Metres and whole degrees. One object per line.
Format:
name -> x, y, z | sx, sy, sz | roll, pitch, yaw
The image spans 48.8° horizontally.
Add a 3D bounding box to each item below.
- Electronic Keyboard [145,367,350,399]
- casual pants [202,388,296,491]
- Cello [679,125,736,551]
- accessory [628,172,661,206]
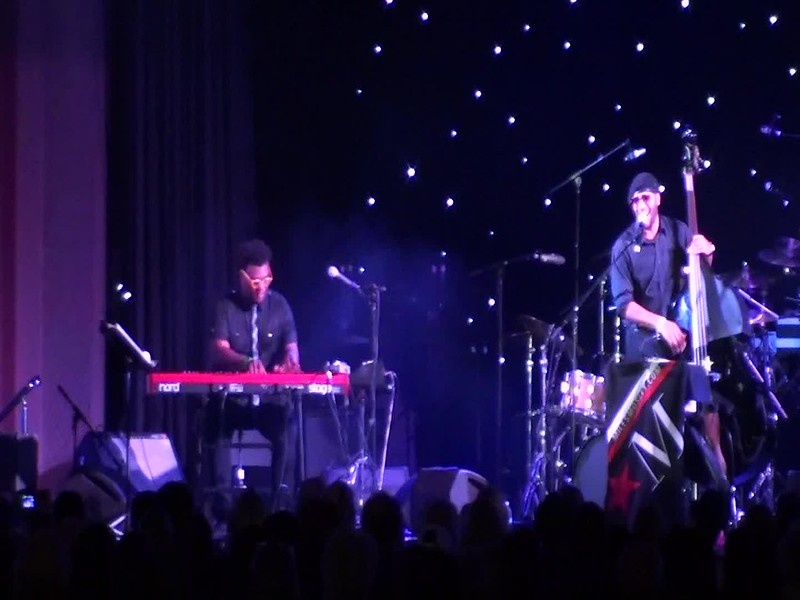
Electronic Keyboard -> -1.097, 0.606, 6.490 | 1.466, 0.192, 0.135 | 3, -11, -12
casual pants -> -1.165, 1.060, 6.791 | 0.757, 0.888, 0.115 | 1, -2, -4
Cello -> 2.053, 0.250, 5.855 | 0.234, 3.077, 0.398 | -3, -5, 5
accessory -> 1.771, -0.830, 6.375 | 0.210, 0.230, 0.194 | -4, -12, 23
